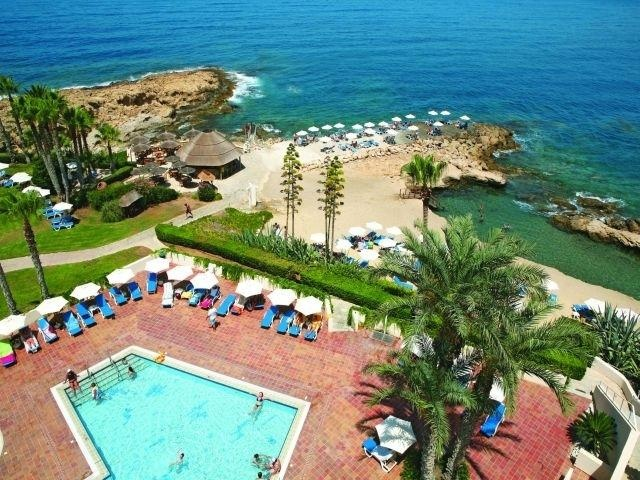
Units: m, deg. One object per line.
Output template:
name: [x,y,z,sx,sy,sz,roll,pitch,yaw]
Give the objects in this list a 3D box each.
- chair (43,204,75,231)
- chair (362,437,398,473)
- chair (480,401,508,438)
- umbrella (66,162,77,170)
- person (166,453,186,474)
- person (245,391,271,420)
chair: [-26.917,-2.267,44.100,2.766,1.262,3.749,-11,43,-31]
chair: [3.387,11.860,23.971,1.197,1.248,2.023,-36,73,-18]
chair: [10.316,10.139,25.187,1.464,2.665,0.635,-14,26,-31]
umbrella: [-31.773,-9.271,54.607,0.872,1.006,1.293,-6,38,-11]
person: [-7.869,12.144,23.503,0.805,0.596,0.966,15,38,15]
person: [-3.817,10.141,26.174,1.255,0.380,1.271,15,60,8]
